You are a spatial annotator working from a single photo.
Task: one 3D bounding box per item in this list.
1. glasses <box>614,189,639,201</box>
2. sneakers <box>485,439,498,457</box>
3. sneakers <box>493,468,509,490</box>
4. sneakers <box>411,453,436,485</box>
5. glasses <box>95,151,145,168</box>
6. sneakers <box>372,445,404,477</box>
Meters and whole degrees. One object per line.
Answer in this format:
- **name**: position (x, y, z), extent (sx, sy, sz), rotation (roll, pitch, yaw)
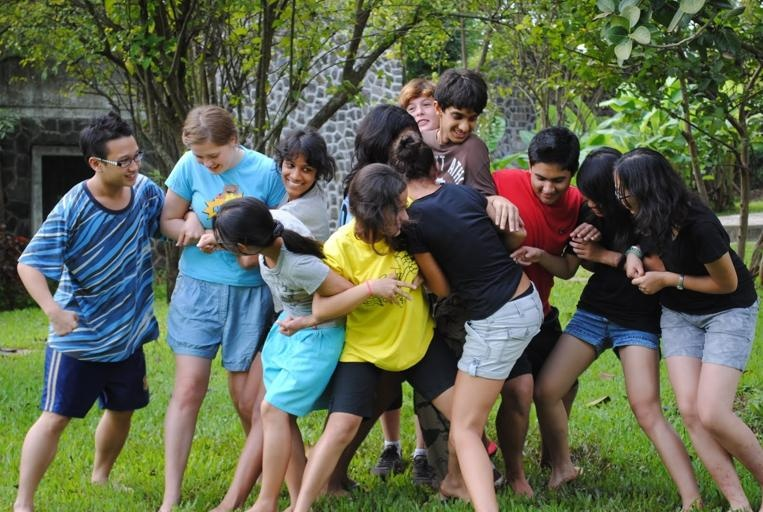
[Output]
- **glasses**: position (1.504, -0.371, 3.986), extent (0.086, 0.026, 0.082), rotation (27, -5, -22)
- **sneakers**: position (0.780, 1.364, 4.589), extent (0.077, 0.089, 0.212), rotation (-37, -13, 4)
- **sneakers**: position (0.807, 1.506, 4.427), extent (0.087, 0.114, 0.164), rotation (4, 5, 0)
- **sneakers**: position (0.296, 1.483, 4.535), extent (0.128, 0.198, 0.265), rotation (4, 5, -2)
- **glasses**: position (-1.665, -0.630, 4.155), extent (0.295, 0.125, 0.145), rotation (0, 6, -39)
- **sneakers**: position (0.057, 1.495, 4.714), extent (0.222, 0.207, 0.209), rotation (4, 5, 3)
